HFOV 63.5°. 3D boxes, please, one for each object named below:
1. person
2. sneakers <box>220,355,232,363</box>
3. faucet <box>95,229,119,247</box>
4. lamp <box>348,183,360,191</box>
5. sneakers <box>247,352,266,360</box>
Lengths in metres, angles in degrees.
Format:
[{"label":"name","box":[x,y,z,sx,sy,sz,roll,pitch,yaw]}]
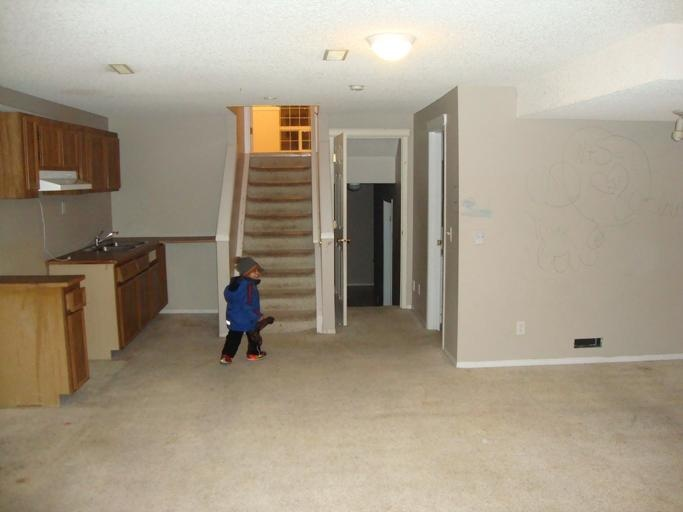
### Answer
[{"label":"person","box":[-1.137,0.603,6.196,0.517,1.124,0.425,-4,14,-14]},{"label":"sneakers","box":[-1.281,1.133,6.120,0.134,0.112,0.114,-4,14,-13]},{"label":"faucet","box":[-3.159,-0.225,7.426,0.150,0.205,0.516,2,9,7]},{"label":"lamp","box":[0.230,-1.242,9.974,0.161,0.102,0.159,1,7,3]},{"label":"sneakers","box":[-0.959,1.124,6.237,0.172,0.076,0.082,-1,3,-10]}]
